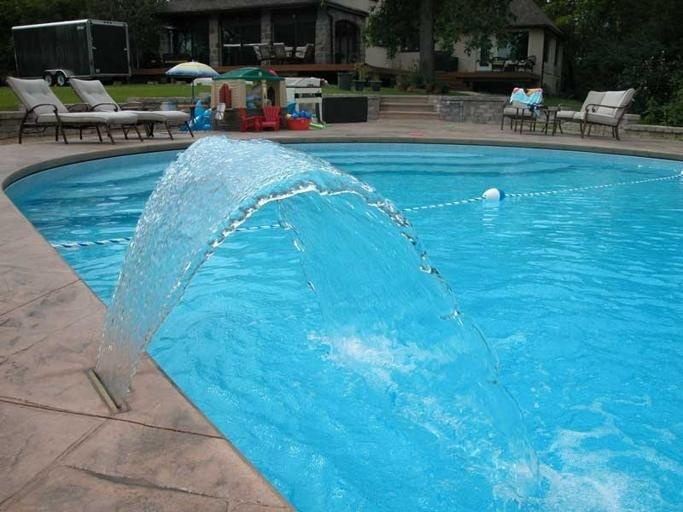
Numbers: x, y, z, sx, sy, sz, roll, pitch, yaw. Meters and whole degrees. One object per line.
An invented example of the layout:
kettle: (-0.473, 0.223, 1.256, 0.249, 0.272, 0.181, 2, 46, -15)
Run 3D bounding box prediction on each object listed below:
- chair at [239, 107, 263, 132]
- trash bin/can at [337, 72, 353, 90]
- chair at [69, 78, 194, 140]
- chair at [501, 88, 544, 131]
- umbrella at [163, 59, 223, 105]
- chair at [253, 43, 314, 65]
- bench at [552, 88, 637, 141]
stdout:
chair: (-2.645, -4.028, 14.278, 0.741, 0.772, 0.644, 5, 27, 1)
trash bin/can: (0.136, -8.291, 22.793, 0.600, 0.753, 0.577, 0, 20, -5)
chair: (-5.695, -3.840, 12.078, 3.287, 1.851, 1.860, 2, 17, 3)
chair: (5.739, -4.733, 15.364, 1.222, 1.211, 1.218, 2, 22, 3)
umbrella: (-5.371, -6.421, 17.023, 1.779, 1.010, 1.723, -10, 25, -33)
chair: (-3.202, -11.252, 26.634, 3.152, 1.166, 2.444, 0, 20, -4)
bench: (7.134, -3.981, 13.435, 1.380, 1.327, 2.272, 2, 20, 0)
